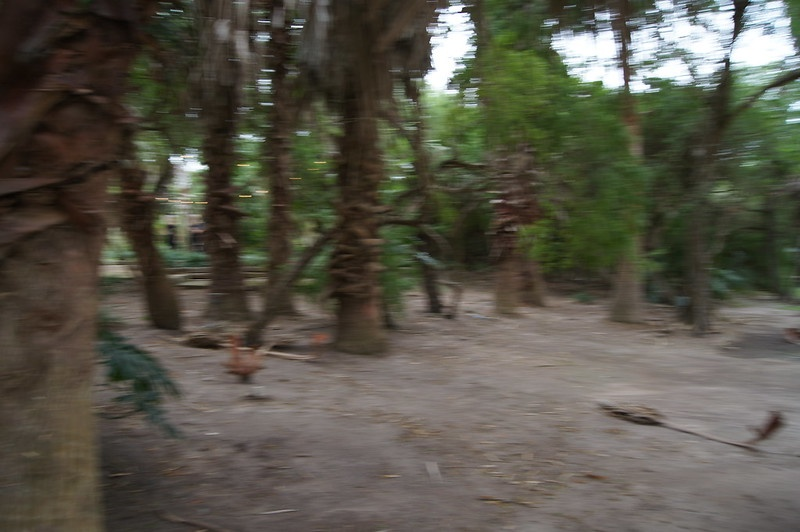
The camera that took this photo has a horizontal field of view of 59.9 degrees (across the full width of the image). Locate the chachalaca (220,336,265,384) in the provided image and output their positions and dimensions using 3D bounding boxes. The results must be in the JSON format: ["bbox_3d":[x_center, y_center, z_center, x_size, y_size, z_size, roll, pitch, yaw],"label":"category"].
[{"bbox_3d":[-2.314,1.217,10.214,0.568,0.616,1.816,-1,5,-11],"label":"chachalaca"}]
